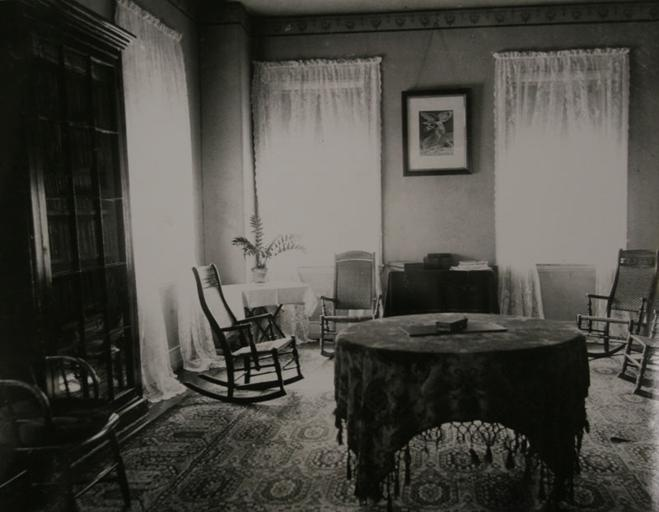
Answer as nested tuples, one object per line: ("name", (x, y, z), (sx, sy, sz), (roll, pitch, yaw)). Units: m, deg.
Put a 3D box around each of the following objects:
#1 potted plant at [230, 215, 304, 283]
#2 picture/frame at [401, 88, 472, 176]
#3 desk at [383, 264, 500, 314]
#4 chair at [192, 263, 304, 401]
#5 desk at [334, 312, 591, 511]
("potted plant", (-0.764, -0.121, 6.023), (0.827, 0.774, 0.695), (-3, 9, -6))
("picture/frame", (1.272, -1.473, 6.302), (0.944, 1.186, 0.080), (0, 3, 3))
("desk", (1.275, 0.329, 5.947), (0.804, 0.602, 0.458), (-3, 14, -7))
("chair", (-0.698, 0.678, 4.666), (0.882, 1.139, 0.674), (-1, 5, -4))
("desk", (0.898, 0.969, 3.736), (1.637, 0.959, 1.692), (-4, 0, 22))
